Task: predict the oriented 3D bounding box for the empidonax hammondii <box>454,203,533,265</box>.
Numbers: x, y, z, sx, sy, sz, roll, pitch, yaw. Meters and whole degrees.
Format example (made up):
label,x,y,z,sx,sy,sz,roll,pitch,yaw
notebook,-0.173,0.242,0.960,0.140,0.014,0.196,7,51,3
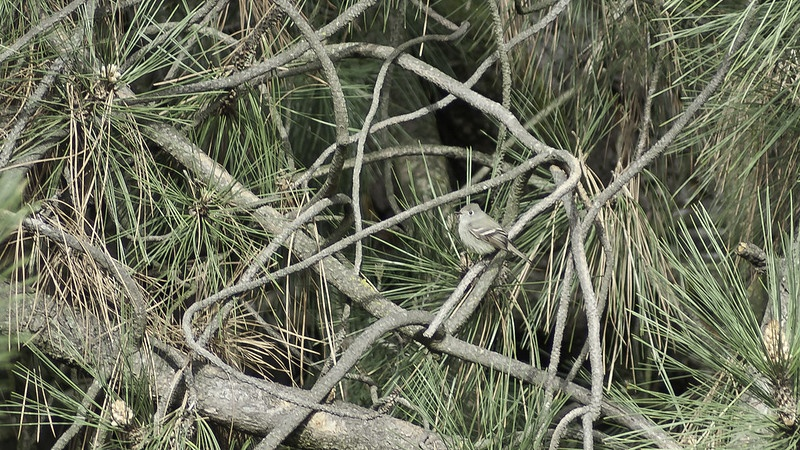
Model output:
label,x,y,z,sx,sy,sz,roll,pitch,yaw
empidonax hammondii,0.550,0.035,6.707,0.455,0.175,0.311,5,91,37
